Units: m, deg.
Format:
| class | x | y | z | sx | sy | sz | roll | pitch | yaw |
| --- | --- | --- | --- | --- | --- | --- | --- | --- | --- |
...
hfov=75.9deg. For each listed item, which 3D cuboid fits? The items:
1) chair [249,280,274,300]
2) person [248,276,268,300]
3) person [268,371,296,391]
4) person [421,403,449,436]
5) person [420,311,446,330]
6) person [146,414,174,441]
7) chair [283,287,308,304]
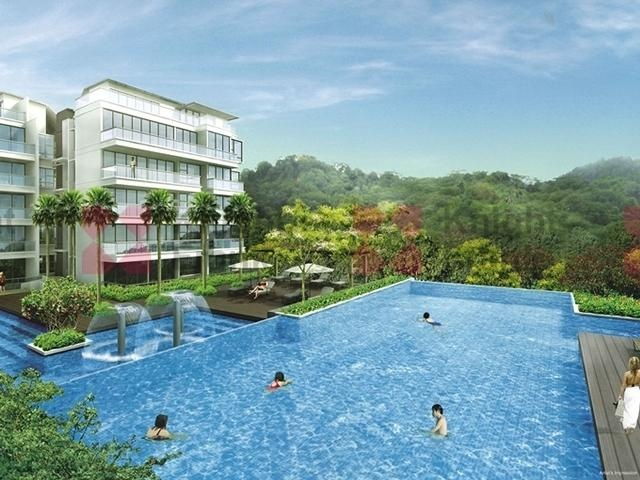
| class | x | y | z | sx | sy | sz | roll | pitch | yaw |
| --- | --- | --- | --- | --- | --- | --- | --- | --- | --- |
| chair | -4.569 | 3.767 | 32.088 | 0.849 | 1.072 | 2.363 | -7 | 4 | 39 |
| person | -4.763 | 3.776 | 31.921 | 2.140 | 1.076 | 0.769 | -30 | 18 | -35 |
| person | -1.672 | 5.800 | 16.971 | 1.075 | 0.550 | 0.427 | -3 | 9 | -23 |
| person | 4.111 | 6.278 | 14.370 | 0.807 | 1.067 | 0.797 | 4 | -6 | 12 |
| person | 7.053 | 4.889 | 25.387 | 0.996 | 0.657 | 1.591 | -1 | 8 | -12 |
| person | -5.432 | 6.282 | 13.892 | 0.654 | 0.360 | 0.855 | 7 | 5 | -11 |
| chair | -1.714 | 3.904 | 29.072 | 0.942 | 0.972 | 1.825 | 0 | 0 | 45 |
